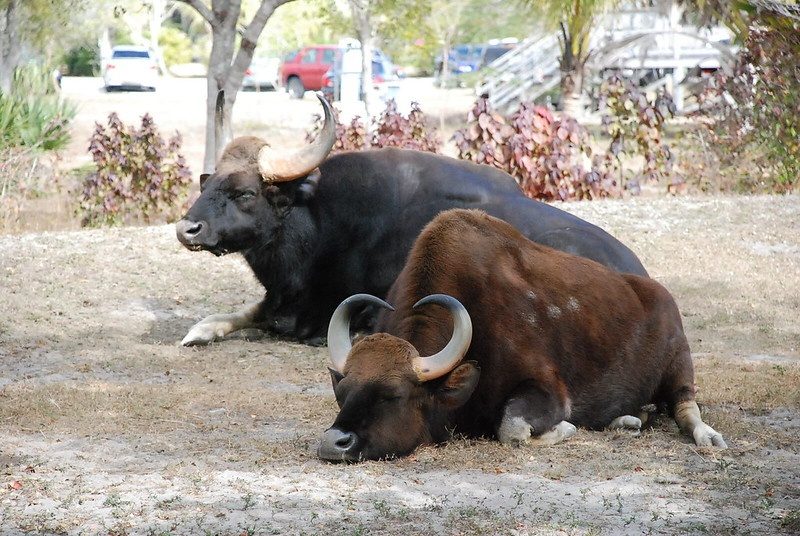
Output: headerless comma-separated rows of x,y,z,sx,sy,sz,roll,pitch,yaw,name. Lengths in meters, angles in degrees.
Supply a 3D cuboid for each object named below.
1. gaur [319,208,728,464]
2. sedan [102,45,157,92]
1.019,0.651,11.027,3.458,1.579,2.159,0,-8,-36,gaur
-4.520,-3.317,19.271,0.769,0.578,1.736,-1,11,-7,sedan
